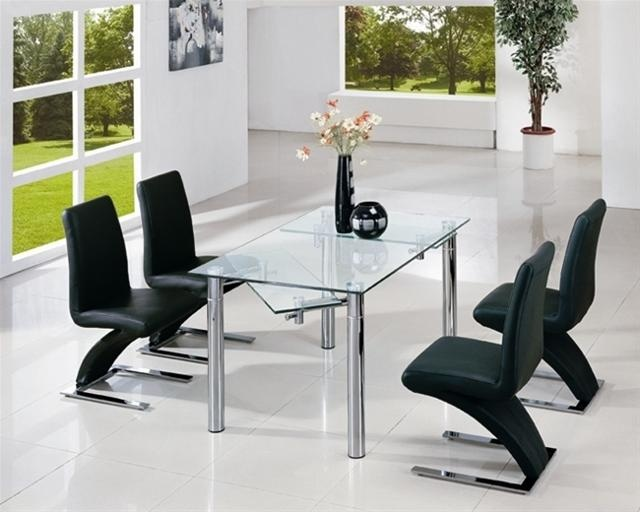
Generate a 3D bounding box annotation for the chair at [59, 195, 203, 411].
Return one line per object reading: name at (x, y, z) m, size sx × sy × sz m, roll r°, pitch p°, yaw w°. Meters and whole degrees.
chair at (-1.223, 0.250, 3.553) m, size 0.818 × 1.189 × 0.602 m, roll 4°, pitch 14°, yaw 20°

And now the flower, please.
flower at (0.136, -0.782, 3.746) m, size 0.512 × 0.250 × 0.475 m, roll 1°, pitch -8°, yaw -38°

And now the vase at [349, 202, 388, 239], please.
vase at (0.267, -0.209, 3.608) m, size 0.250 × 0.216 × 0.238 m, roll -4°, pitch 10°, yaw -17°

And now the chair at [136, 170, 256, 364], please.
chair at (-0.891, 0.061, 4.185) m, size 0.840 × 1.241 × 0.824 m, roll 12°, pitch 17°, yaw 35°

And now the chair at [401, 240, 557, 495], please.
chair at (0.772, 0.484, 2.659) m, size 0.653 × 1.081 × 0.473 m, roll 4°, pitch 15°, yaw 23°
